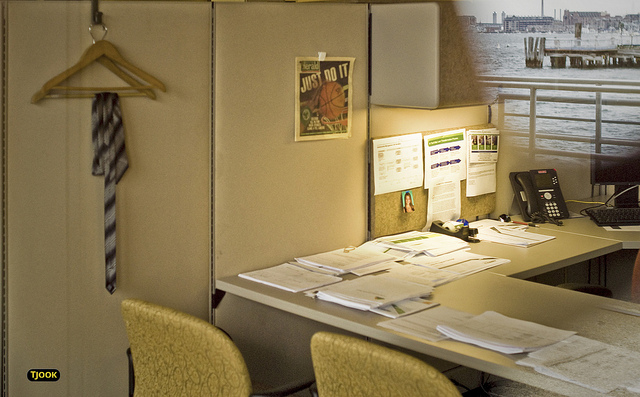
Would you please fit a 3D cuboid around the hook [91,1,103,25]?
[{"bbox_3d":[-0.761,-0.635,1.784,0.038,0.076,0.019,-6,13,-19],"label":"hook"}]

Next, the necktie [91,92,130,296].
[{"bbox_3d":[-0.737,-0.017,1.867,0.125,0.712,0.077,-7,13,-19],"label":"necktie"}]

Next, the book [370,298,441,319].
[{"bbox_3d":[0.281,0.349,1.688,0.213,0.014,0.095,-10,14,-35],"label":"book"}]

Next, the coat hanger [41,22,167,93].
[{"bbox_3d":[-0.754,-0.486,1.802,0.030,0.243,0.433,7,15,42],"label":"coat hanger"}]

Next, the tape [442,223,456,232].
[{"bbox_3d":[0.613,0.137,2.470,0.029,0.013,0.047,1,18,-36],"label":"tape"}]
